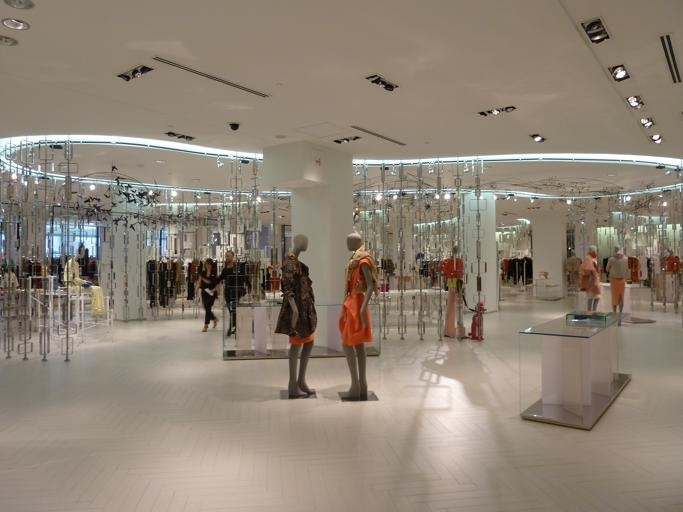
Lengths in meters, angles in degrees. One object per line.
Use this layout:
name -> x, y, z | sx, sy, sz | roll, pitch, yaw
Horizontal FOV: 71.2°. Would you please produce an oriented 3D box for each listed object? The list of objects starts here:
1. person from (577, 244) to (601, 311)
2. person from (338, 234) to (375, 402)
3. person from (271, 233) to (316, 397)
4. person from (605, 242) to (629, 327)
person -> 6.173, 0.585, 11.905 | 0.443, 1.613, 0.810 | 0, 1, 32
person -> 0.210, 0.787, 6.282 | 0.467, 2.168, 0.581 | 0, 1, -1
person -> -0.599, 0.799, 6.310 | 0.515, 2.147, 0.674 | 0, 1, -4
person -> 7.124, 0.608, 12.359 | 0.417, 1.712, 0.634 | 0, 1, 31
